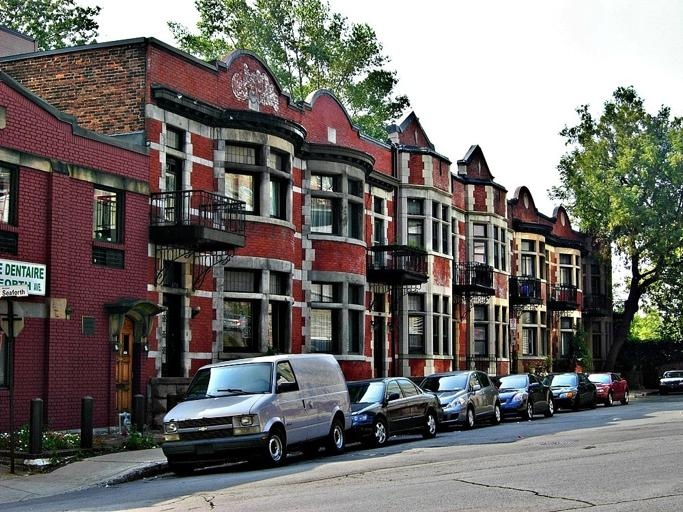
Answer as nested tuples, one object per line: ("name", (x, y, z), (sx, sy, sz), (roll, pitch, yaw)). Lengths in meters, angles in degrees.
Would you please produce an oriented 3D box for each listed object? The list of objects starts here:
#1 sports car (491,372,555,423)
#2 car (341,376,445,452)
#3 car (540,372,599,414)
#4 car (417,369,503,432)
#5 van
("sports car", (6.156, 4.979, 37.197), (1.844, 1.519, 4.364), (-5, -7, 28))
("car", (1.374, 4.166, 28.629), (1.419, 1.553, 3.791), (-3, -6, 34))
("car", (8.649, 5.395, 40.659), (1.677, 1.713, 2.067), (-6, -8, 34))
("car", (3.773, 4.441, 32.349), (1.467, 1.621, 3.648), (-3, -6, 33))
("van", (-1.924, 3.936, 26.494), (3.066, 2.754, 5.489), (-8, -8, 23))
